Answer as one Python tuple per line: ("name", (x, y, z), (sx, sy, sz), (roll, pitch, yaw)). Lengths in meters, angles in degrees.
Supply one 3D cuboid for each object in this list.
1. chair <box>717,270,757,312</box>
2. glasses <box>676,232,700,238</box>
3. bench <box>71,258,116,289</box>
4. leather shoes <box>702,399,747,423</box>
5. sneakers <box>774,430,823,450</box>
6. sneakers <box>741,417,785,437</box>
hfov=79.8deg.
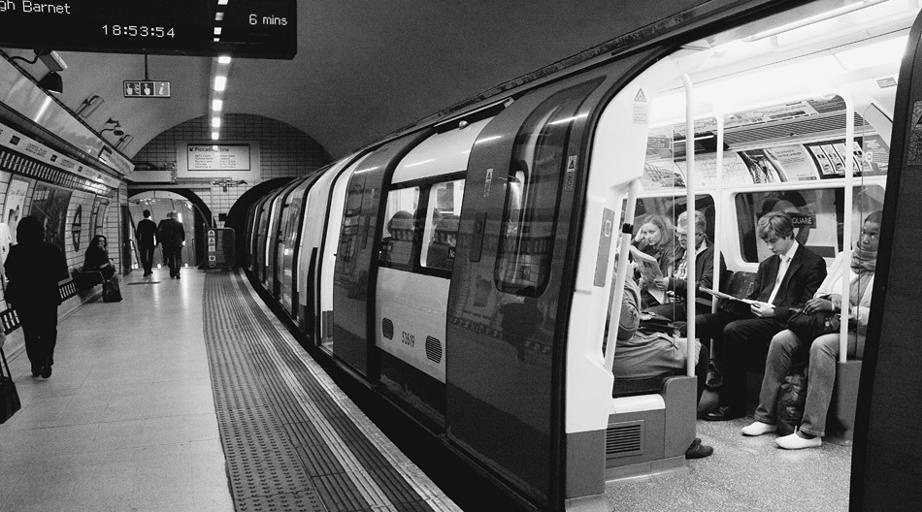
("chair", (3.539, 0.464, 7.180), (0.528, 0.585, 0.629), (2, -5, 9))
("glasses", (2.242, -0.205, 5.407), (0.181, 0.045, 0.157), (-1, 1, -14))
("bench", (-10.127, 0.531, 14.863), (0.820, 0.421, 0.772), (-3, -1, 22))
("leather shoes", (3.092, 1.826, 6.467), (0.615, 0.214, 0.189), (1, -1, -17))
("sneakers", (3.531, 1.936, 5.759), (0.525, 0.156, 0.174), (1, -7, -5))
("sneakers", (3.337, 1.892, 6.021), (0.460, 0.126, 0.155), (1, -5, -13))
